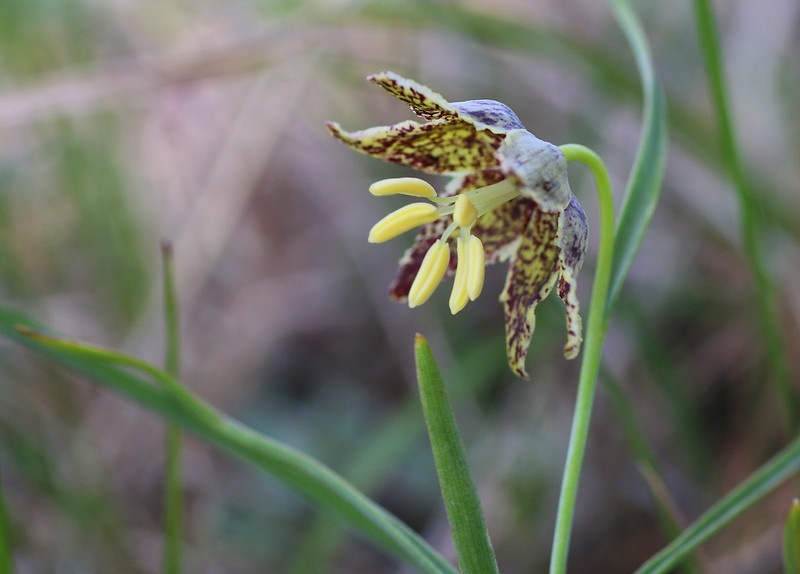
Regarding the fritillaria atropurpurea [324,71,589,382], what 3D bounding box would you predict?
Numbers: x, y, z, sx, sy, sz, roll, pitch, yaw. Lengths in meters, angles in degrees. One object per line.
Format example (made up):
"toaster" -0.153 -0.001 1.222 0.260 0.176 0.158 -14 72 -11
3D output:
"fritillaria atropurpurea" 0.101 -0.110 1.589 0.437 0.506 0.273 5 13 33
